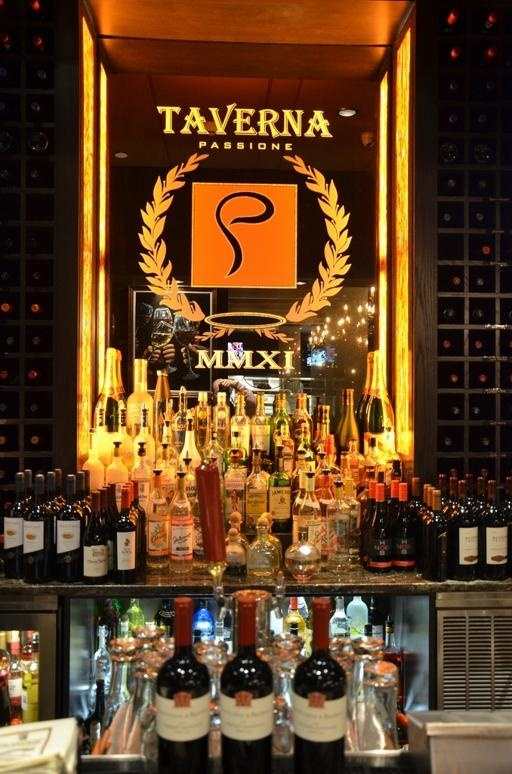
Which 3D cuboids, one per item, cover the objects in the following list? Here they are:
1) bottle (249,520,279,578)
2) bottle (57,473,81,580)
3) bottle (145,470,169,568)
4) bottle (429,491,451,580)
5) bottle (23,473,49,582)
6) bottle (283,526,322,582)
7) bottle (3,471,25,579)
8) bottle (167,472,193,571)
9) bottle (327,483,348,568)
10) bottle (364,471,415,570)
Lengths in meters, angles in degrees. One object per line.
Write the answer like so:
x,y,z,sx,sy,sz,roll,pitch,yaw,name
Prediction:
0.027,0.574,2.992,0.121,0.225,0.292,0,-5,1,bottle
-0.648,0.492,2.878,0.088,0.361,0.095,0,-5,0,bottle
-0.368,0.495,3.096,0.084,0.367,0.239,0,-5,-8,bottle
0.658,0.533,2.981,0.055,0.320,0.163,-2,-6,24,bottle
-0.762,0.492,2.873,0.085,0.369,0.149,3,-6,-34,bottle
0.157,0.600,2.977,0.117,0.192,0.098,-2,-6,22,bottle
-0.851,0.489,2.908,0.071,0.371,0.124,1,-5,-17,bottle
-0.277,0.497,3.056,0.090,0.368,0.208,0,-5,-6,bottle
0.300,0.511,3.047,0.075,0.326,0.076,0,-5,0,bottle
0.501,0.520,3.081,0.182,0.329,0.304,-3,-6,27,bottle
